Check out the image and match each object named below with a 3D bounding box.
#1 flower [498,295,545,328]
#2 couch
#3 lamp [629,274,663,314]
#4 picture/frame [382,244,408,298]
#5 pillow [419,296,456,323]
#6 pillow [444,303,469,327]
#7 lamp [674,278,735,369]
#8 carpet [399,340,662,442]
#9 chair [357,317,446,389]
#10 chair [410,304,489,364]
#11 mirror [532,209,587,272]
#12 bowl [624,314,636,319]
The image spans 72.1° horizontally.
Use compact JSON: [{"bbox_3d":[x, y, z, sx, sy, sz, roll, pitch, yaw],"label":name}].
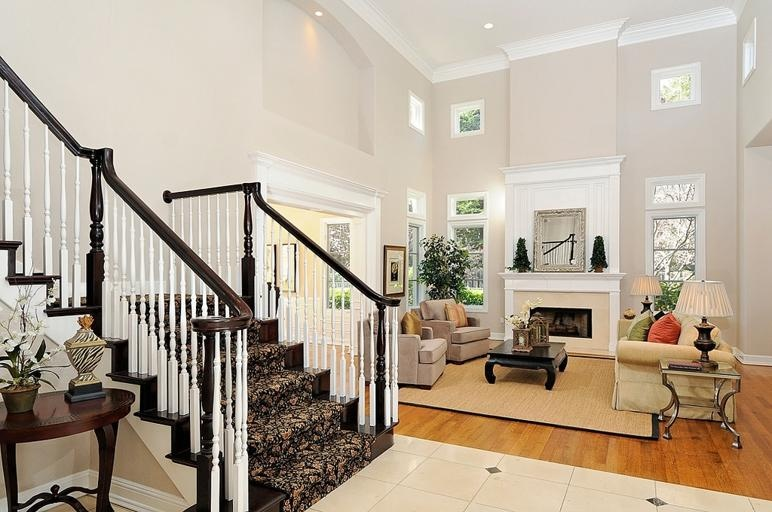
[{"bbox_3d":[2.317,0.987,8.755,0.913,0.457,0.729,-3,-7,9],"label":"flower"},{"bbox_3d":[4.081,1.438,7.790,1.494,1.081,2.415,0,2,30],"label":"couch"},{"bbox_3d":[4.526,0.700,9.240,0.524,0.647,0.566,-1,-6,33],"label":"lamp"},{"bbox_3d":[0.146,0.282,10.840,0.078,1.101,1.127,-2,-4,24],"label":"picture/frame"},{"bbox_3d":[0.841,0.989,9.847,0.413,0.380,0.160,7,-21,-30],"label":"pillow"},{"bbox_3d":[1.303,1.108,9.998,0.147,0.291,0.429,-7,-11,34],"label":"pillow"},{"bbox_3d":[3.771,0.783,6.373,0.550,1.006,0.511,3,9,17],"label":"lamp"},{"bbox_3d":[2.167,2.001,8.094,3.399,0.052,3.354,9,6,27],"label":"carpet"},{"bbox_3d":[0.127,1.538,8.107,1.271,1.228,1.264,-3,-5,18],"label":"chair"},{"bbox_3d":[1.095,1.386,9.950,1.112,1.190,1.207,-6,-8,41],"label":"chair"},{"bbox_3d":[3.561,-0.301,10.780,1.300,1.677,0.174,0,-4,26],"label":"mirror"},{"bbox_3d":[4.348,1.080,9.497,0.118,0.081,0.117,1,-4,0],"label":"bowl"}]
